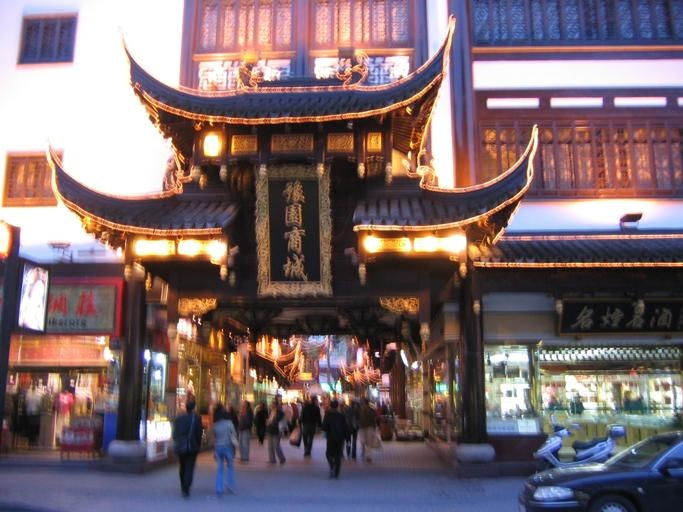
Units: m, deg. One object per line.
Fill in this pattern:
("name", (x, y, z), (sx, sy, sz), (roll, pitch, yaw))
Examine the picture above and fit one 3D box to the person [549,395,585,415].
("person", (6.667, 4.412, 20.476), (1.111, 0.542, 0.186), (3, -12, -15))
